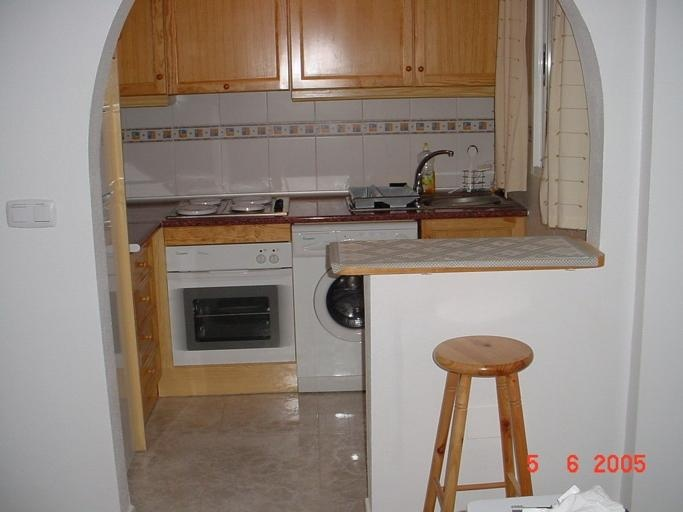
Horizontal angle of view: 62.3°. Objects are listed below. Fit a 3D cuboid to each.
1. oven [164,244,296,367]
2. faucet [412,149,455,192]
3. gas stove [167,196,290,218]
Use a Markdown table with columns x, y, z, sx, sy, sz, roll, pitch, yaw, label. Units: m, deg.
| x | y | z | sx | sy | sz | roll | pitch | yaw | label |
| --- | --- | --- | --- | --- | --- | --- | --- | --- | --- |
| -0.722 | 0.291 | 3.733 | 0.783 | 0.766 | 0.611 | -3 | 9 | -18 | oven |
| 0.642 | -0.599 | 3.935 | 0.298 | 0.302 | 0.437 | -2 | 4 | 11 | faucet |
| -0.713 | -0.318 | 3.667 | 0.739 | 0.140 | 0.575 | -3 | 4 | -4 | gas stove |
